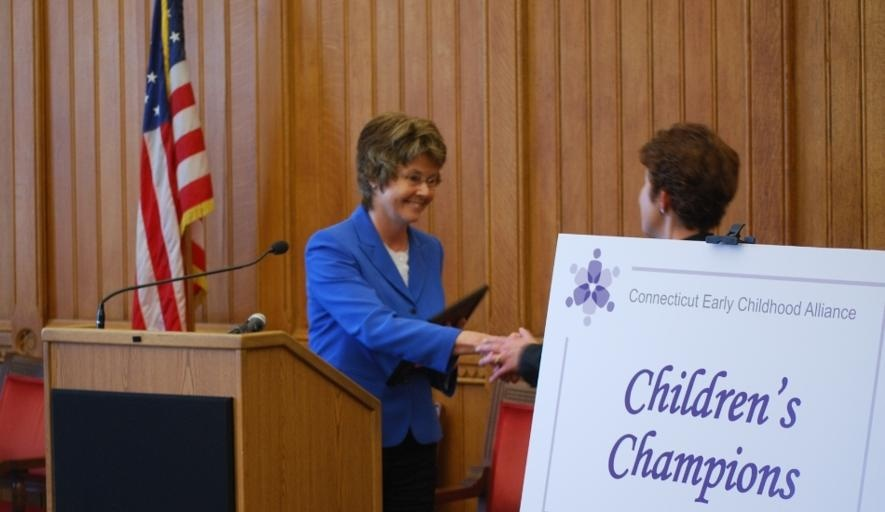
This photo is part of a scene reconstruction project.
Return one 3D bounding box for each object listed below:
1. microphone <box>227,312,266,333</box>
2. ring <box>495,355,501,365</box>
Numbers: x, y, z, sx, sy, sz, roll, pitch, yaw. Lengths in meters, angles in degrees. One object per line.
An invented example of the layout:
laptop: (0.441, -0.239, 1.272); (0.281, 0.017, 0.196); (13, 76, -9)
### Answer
microphone: (-1.067, 0.374, 6.126); (0.165, 0.119, 0.360); (2, -5, -6)
ring: (0.309, 0.588, 6.268); (0.045, 0.050, 0.013); (-5, -7, 44)
